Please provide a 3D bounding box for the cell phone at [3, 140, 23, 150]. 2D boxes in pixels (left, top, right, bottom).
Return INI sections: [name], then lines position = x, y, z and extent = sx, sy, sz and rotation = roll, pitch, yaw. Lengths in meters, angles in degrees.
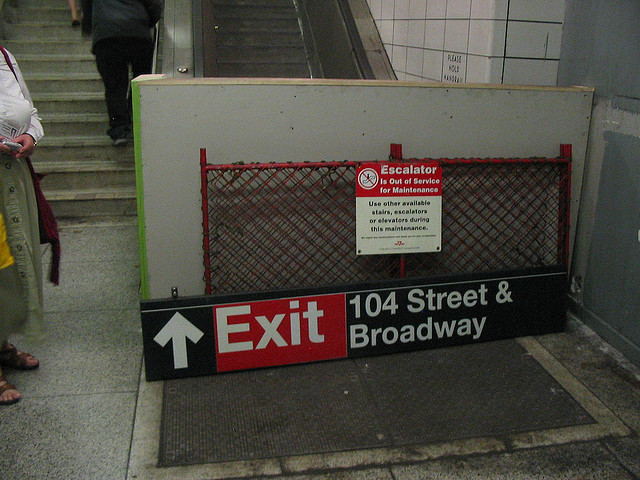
[cell phone]
position = -1.884, -0.565, 3.401
extent = 0.066, 0.027, 0.050
rotation = 15, 6, 6
